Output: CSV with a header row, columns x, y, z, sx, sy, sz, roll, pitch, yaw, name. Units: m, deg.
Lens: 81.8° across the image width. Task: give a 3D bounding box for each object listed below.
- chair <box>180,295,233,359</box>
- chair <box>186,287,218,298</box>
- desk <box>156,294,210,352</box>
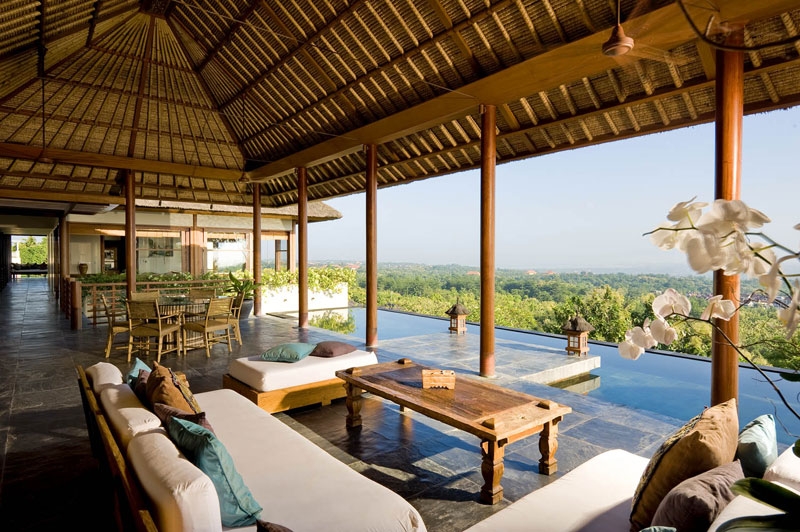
x,y,z,sx,sy,sz,roll,pitch,yaw,name
-3.188,0.964,7.520,0.807,0.754,0.715,-2,-1,-8,chair
-3.713,0.506,8.567,0.449,0.261,0.437,0,-1,36,chair
-3.473,1.042,7.660,0.598,0.665,0.520,4,-11,-34,desk
